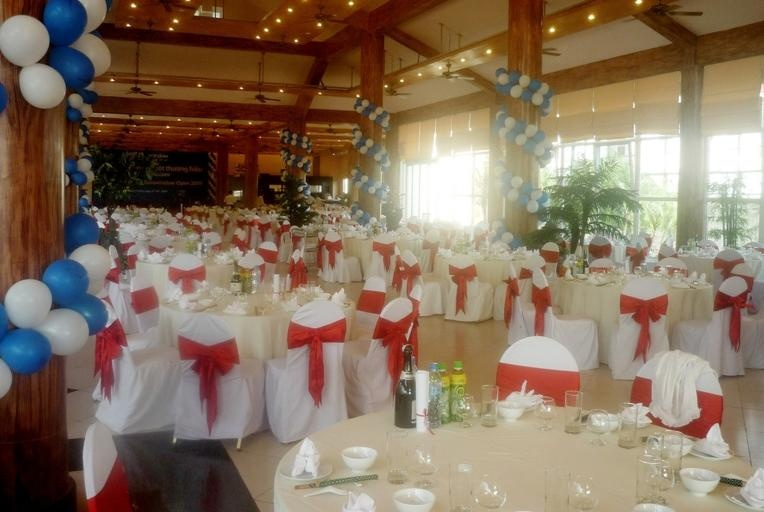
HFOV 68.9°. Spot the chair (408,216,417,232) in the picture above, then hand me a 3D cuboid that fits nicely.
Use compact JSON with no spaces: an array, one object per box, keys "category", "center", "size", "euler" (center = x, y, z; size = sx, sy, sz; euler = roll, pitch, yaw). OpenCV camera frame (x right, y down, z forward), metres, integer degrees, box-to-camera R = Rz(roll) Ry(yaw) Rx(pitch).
[{"category":"chair","center":[0.780,-0.765,13.837],"size":[0.262,0.340,0.357],"euler":[-2,27,0]}]

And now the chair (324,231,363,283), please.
[{"category":"chair","center":[-0.784,0.017,10.876],"size":[0.799,1.017,0.646],"euler":[-1,11,-3]}]

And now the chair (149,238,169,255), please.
[{"category":"chair","center":[-3.457,-0.145,8.620],"size":[0.266,0.224,0.281],"euler":[0,8,-6]}]

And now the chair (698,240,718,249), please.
[{"category":"chair","center":[5.837,-0.189,9.971],"size":[0.227,0.178,0.240],"euler":[0,0,-5]}]

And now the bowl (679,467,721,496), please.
[{"category":"bowl","center":[1.504,1.054,2.631],"size":[0.117,0.068,0.121],"euler":[-4,-1,0]}]

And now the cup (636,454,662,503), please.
[{"category":"cup","center":[1.238,1.030,2.567],"size":[0.113,0.188,0.156],"euler":[6,12,29]}]

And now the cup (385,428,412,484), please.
[{"category":"cup","center":[0.080,0.949,2.712],"size":[0.111,0.228,0.196],"euler":[0,11,2]}]

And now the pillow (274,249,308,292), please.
[{"category":"pillow","center":[-1.326,0.215,8.155],"size":[0.407,0.702,0.413],"euler":[-11,20,-33]}]

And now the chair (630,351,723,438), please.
[{"category":"chair","center":[1.739,0.802,3.250],"size":[0.421,0.590,0.213],"euler":[10,0,21]}]

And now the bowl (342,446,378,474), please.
[{"category":"bowl","center":[-0.108,1.004,2.793],"size":[0.181,0.071,0.169],"euler":[0,11,0]}]

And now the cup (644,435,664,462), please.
[{"category":"cup","center":[1.370,0.961,2.775],"size":[0.099,0.121,0.105],"euler":[0,-2,0]}]

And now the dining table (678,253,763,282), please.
[{"category":"dining table","center":[5.603,0.166,9.144],"size":[1.012,0.283,0.915],"euler":[3,7,42]}]

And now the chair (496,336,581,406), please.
[{"category":"chair","center":[0.992,0.727,3.533],"size":[0.494,0.388,0.194],"euler":[2,11,11]}]

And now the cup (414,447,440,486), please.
[{"category":"cup","center":[0.208,1.016,2.713],"size":[0.133,0.214,0.134],"euler":[0,-2,0]}]

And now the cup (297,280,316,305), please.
[{"category":"cup","center":[-0.735,0.383,5.533],"size":[0.177,0.222,0.194],"euler":[0,-2,0]}]

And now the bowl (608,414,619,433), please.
[{"category":"bowl","center":[1.277,0.921,3.062],"size":[0.078,0.060,0.078],"euler":[-3,4,0]}]
